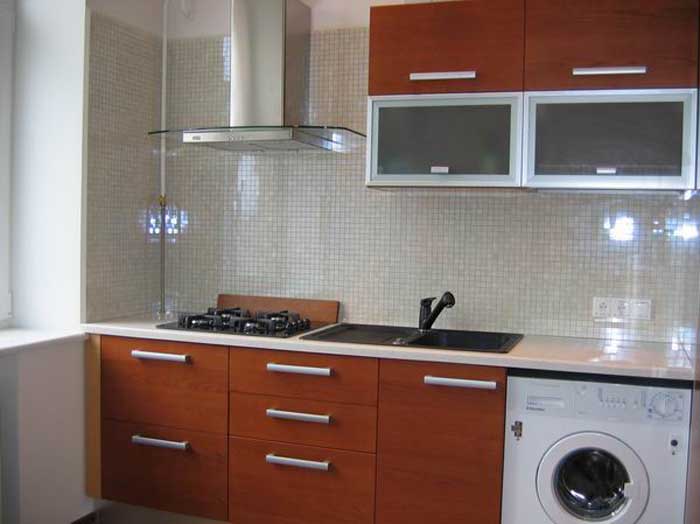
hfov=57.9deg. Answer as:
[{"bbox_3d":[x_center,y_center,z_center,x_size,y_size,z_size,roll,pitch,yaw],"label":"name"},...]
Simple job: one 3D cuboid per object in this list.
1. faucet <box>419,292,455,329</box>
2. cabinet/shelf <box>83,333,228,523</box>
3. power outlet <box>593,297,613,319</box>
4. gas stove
[{"bbox_3d":[0.476,0.257,3.446,0.191,0.226,0.230,3,5,9],"label":"faucet"},{"bbox_3d":[-0.939,0.869,3.750,0.909,1.189,0.799,0,-1,17],"label":"cabinet/shelf"},{"bbox_3d":[1.332,0.235,3.323,0.102,0.154,0.015,1,4,22],"label":"power outlet"},{"bbox_3d":[-0.604,0.315,3.502,0.817,0.093,0.512,4,6,16],"label":"gas stove"}]
